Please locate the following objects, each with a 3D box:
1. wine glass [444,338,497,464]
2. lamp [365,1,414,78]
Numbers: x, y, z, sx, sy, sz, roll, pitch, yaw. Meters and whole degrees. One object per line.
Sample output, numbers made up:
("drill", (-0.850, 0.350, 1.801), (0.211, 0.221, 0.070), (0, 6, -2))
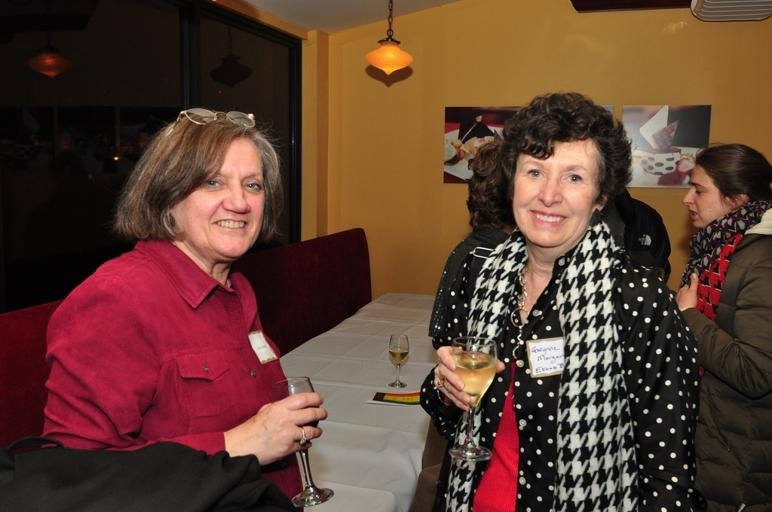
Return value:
("wine glass", (0.272, 0.455, 1.767), (0.154, 0.377, 0.131), (-2, 11, 6))
("lamp", (0.027, -2.004, 5.083), (0.456, 0.688, 1.161), (-4, 12, 0))
